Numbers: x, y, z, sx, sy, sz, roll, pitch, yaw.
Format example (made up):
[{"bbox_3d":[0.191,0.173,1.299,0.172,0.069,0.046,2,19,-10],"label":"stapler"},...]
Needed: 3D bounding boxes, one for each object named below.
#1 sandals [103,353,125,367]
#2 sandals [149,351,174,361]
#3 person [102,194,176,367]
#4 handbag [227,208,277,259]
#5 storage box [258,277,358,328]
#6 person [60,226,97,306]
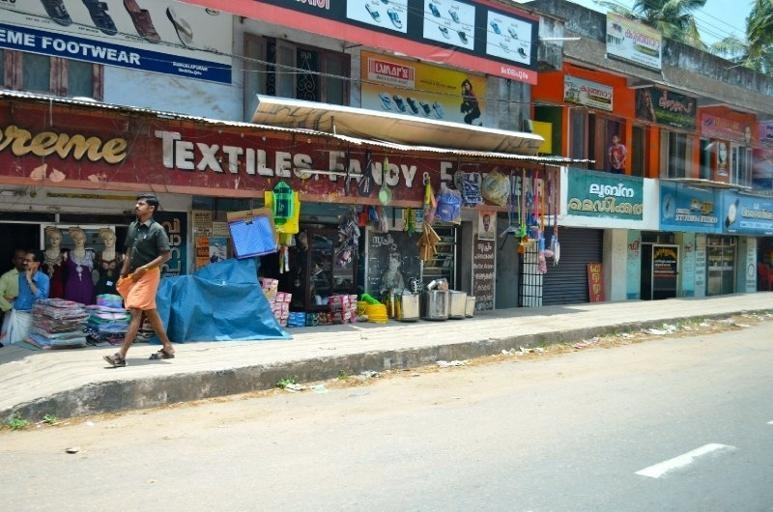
[{"bbox_3d":[-4.732,1.834,16.318,0.177,0.164,0.380,30,-2,39],"label":"sandals"},{"bbox_3d":[-4.066,1.824,16.905,0.450,0.184,0.165,5,-7,-21],"label":"sandals"},{"bbox_3d":[-4.378,0.432,16.579,1.147,3.051,0.838,1,-4,-28],"label":"person"},{"bbox_3d":[-2.706,-0.485,19.128,0.992,1.027,0.669,-11,-3,-14],"label":"handbag"},{"bbox_3d":[-1.644,1.067,20.808,2.585,1.044,0.486,3,-5,-43],"label":"storage box"},{"bbox_3d":[-6.231,0.183,18.969,0.601,1.577,0.269,1,-3,-19],"label":"person"}]
